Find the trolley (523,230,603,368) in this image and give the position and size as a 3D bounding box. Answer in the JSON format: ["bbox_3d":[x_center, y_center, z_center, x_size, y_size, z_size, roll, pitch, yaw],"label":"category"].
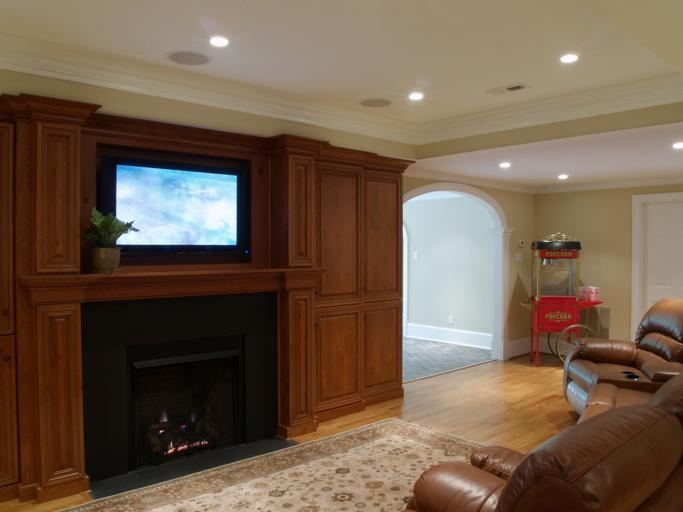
[{"bbox_3d":[3.373,0.747,7.571,0.793,1.993,1.034,4,-2,-44],"label":"trolley"}]
